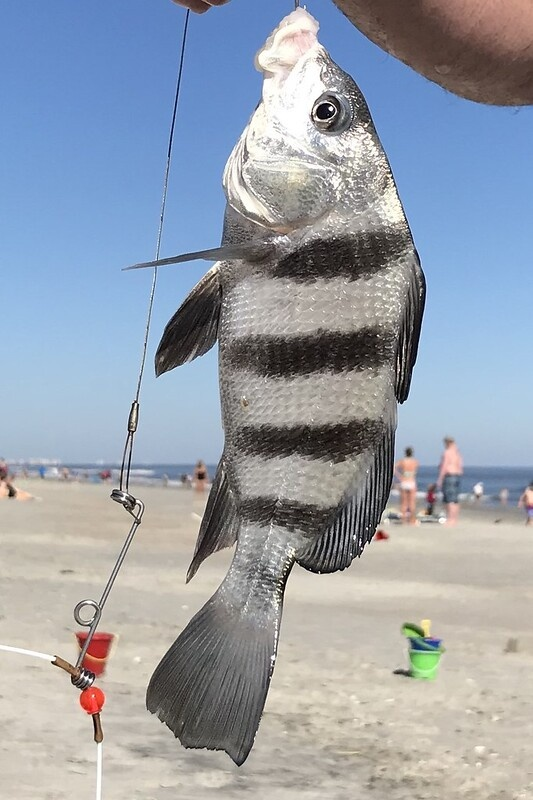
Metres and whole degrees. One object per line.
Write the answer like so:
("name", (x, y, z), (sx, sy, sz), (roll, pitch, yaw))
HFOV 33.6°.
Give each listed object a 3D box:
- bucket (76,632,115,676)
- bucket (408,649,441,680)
("bucket", (-0.894, 1.387, 4.722), (0.137, 0.229, 0.389), (7, -2, 2))
("bucket", (0.919, 1.566, 5.246), (0.201, 0.135, 0.197), (2, 0, 0))
